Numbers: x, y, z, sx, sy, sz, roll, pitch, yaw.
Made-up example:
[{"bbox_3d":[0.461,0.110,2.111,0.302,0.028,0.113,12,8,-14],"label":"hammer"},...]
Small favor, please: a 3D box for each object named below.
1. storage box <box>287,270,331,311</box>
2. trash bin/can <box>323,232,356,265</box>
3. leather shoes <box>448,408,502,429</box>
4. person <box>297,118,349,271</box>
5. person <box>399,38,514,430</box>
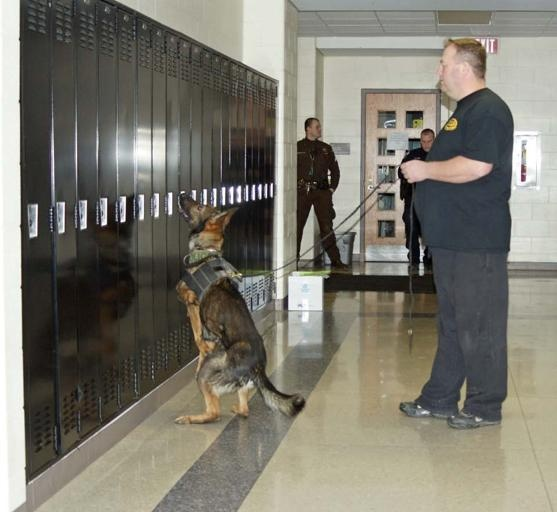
[{"bbox_3d":[0.318,0.359,6.140,0.417,0.445,0.445,0,-4,1],"label":"storage box"},{"bbox_3d":[1.020,-0.199,9.206,0.553,0.678,0.556,0,-2,0],"label":"trash bin/can"},{"bbox_3d":[1.064,0.867,2.862,0.282,0.141,0.105,3,-2,-4],"label":"leather shoes"},{"bbox_3d":[0.636,-1.091,8.615,0.891,2.463,0.564,-2,3,-34],"label":"person"},{"bbox_3d":[0.940,-0.144,2.815,0.535,2.132,0.410,1,3,26],"label":"person"}]
